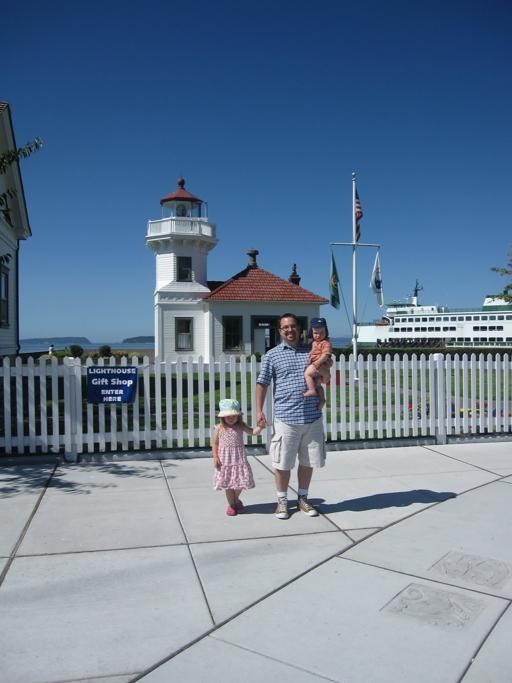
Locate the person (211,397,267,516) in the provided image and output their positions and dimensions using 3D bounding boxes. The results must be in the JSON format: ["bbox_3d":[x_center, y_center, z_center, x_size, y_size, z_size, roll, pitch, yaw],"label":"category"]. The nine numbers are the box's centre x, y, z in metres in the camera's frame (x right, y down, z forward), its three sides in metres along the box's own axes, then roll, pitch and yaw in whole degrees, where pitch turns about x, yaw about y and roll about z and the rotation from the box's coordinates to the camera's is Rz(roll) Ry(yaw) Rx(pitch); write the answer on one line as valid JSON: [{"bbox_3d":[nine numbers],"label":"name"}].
[{"bbox_3d":[-0.166,0.970,6.232,0.382,0.976,0.535,0,4,-3],"label":"person"}]

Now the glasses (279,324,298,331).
[{"bbox_3d":[0.266,-0.102,6.110,0.149,0.054,0.100,1,4,11],"label":"glasses"}]

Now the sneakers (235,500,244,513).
[{"bbox_3d":[-0.142,1.421,6.280,0.082,0.138,0.073,-2,-17,-8],"label":"sneakers"}]

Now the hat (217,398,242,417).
[{"bbox_3d":[-0.221,0.564,6.135,0.164,0.153,0.275,0,4,-3],"label":"hat"}]
